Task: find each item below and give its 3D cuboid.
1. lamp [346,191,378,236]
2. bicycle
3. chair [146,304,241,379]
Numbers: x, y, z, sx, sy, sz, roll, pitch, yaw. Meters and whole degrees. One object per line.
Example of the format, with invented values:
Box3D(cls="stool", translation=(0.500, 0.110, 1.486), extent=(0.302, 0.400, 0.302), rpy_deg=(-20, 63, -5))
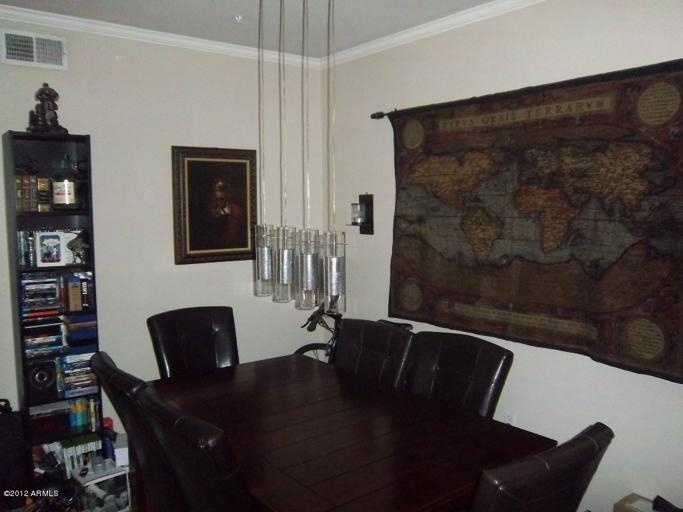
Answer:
Box3D(cls="lamp", translation=(0.204, -0.392, 4.774), extent=(0.218, 0.393, 0.275), rpy_deg=(0, 12, 1))
Box3D(cls="bicycle", translation=(0.088, 0.736, 4.783), extent=(1.059, 0.709, 0.675), rpy_deg=(11, 1, 3))
Box3D(cls="chair", translation=(-1.065, 0.550, 3.771), extent=(0.481, 0.731, 0.577), rpy_deg=(-3, 1, -33))
